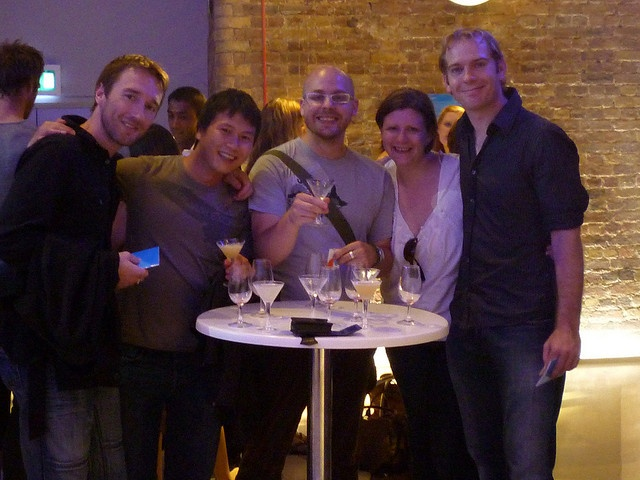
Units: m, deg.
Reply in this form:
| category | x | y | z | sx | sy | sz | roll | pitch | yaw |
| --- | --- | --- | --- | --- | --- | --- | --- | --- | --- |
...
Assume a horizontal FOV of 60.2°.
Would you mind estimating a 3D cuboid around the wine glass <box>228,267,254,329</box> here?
| category | x | y | z | sx | sy | sz | roll | pitch | yaw |
| --- | --- | --- | --- | --- | --- | --- | --- | --- | --- |
| wine glass | -0.357 | 0.238 | 2.485 | 0.096 | 0.241 | 0.384 | -2 | 5 | -8 |

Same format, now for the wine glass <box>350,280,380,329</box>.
| category | x | y | z | sx | sy | sz | roll | pitch | yaw |
| --- | --- | --- | --- | --- | --- | --- | --- | --- | --- |
| wine glass | 0.171 | 0.291 | 2.575 | 0.163 | 0.227 | 0.169 | 0 | -5 | 1 |

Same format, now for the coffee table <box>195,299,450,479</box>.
| category | x | y | z | sx | sy | sz | roll | pitch | yaw |
| --- | --- | --- | --- | --- | --- | --- | --- | --- | --- |
| coffee table | 0.065 | 0.741 | 2.486 | 0.862 | 0.650 | 0.894 | 0 | -6 | 3 |

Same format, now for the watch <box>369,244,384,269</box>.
| category | x | y | z | sx | sy | sz | roll | pitch | yaw |
| --- | --- | --- | --- | --- | --- | --- | --- | --- | --- |
| watch | 0.315 | 0.082 | 2.945 | 0.040 | 0.106 | 0.089 | -4 | -4 | -25 |

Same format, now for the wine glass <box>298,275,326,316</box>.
| category | x | y | z | sx | sy | sz | roll | pitch | yaw |
| --- | --- | --- | --- | --- | --- | --- | --- | --- | --- |
| wine glass | -0.031 | 0.264 | 2.602 | 0.161 | 0.212 | 0.174 | 0 | -3 | -1 |

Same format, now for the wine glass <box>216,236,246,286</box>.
| category | x | y | z | sx | sy | sz | roll | pitch | yaw |
| --- | --- | --- | --- | --- | --- | --- | --- | --- | --- |
| wine glass | -0.421 | 0.097 | 2.604 | 0.182 | 0.240 | 0.204 | -2 | -7 | 4 |

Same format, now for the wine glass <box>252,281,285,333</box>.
| category | x | y | z | sx | sy | sz | roll | pitch | yaw |
| --- | --- | --- | --- | --- | --- | --- | --- | --- | --- |
| wine glass | -0.223 | 0.285 | 2.428 | 0.158 | 0.220 | 0.177 | 0 | -2 | -1 |

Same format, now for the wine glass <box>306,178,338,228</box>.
| category | x | y | z | sx | sy | sz | roll | pitch | yaw |
| --- | --- | --- | --- | --- | --- | --- | --- | --- | --- |
| wine glass | -0.017 | -0.188 | 2.837 | 0.192 | 0.287 | 0.211 | 1 | -3 | -24 |
